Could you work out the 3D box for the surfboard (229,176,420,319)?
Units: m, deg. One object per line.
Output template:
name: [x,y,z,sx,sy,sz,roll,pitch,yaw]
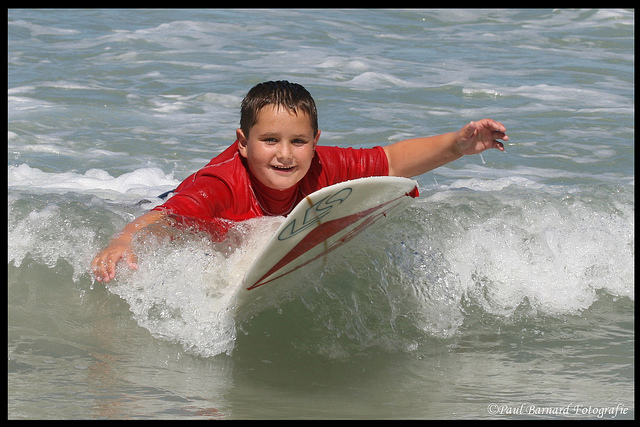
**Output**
surfboard: [0.037,0.114,6.262,0.783,2.224,0.307,-5,63,-48]
